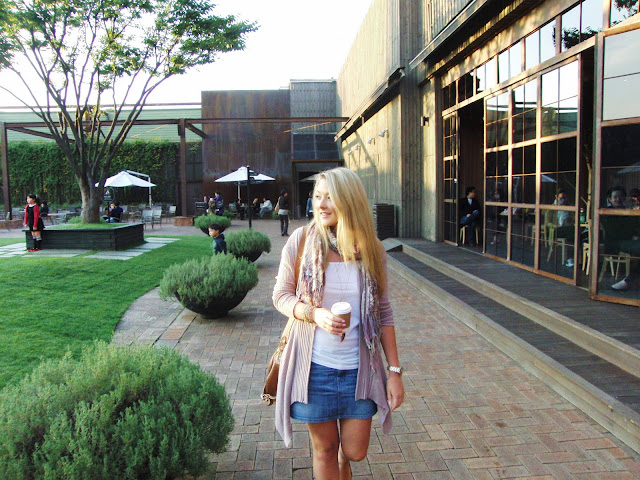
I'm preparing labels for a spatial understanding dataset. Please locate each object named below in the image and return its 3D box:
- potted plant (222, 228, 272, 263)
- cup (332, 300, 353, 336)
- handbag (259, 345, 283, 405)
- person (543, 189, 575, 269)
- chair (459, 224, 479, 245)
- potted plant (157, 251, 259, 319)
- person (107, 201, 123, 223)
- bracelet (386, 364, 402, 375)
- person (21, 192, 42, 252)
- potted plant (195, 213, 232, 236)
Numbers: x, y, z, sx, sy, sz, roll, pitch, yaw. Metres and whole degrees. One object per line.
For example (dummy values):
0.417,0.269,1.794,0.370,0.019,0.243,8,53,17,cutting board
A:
-1.960,0.125,11.676,0.815,0.742,0.922,0,-2,14,potted plant
0.127,0.421,2.501,0.131,0.181,0.154,-4,7,-6,cup
-0.296,0.861,2.841,0.092,0.249,0.292,5,24,-7,handbag
4.155,-0.286,7.618,0.351,1.209,0.422,-9,21,0,person
4.012,-0.116,12.036,0.389,0.618,0.563,2,-1,-14,chair
-1.823,0.809,7.725,1.419,1.206,1.573,-7,7,-13,potted plant
-8.953,-1.167,19.372,0.535,0.868,1.733,-3,8,-26,person
0.464,0.799,2.758,0.070,0.064,0.083,2,-13,29,bracelet
-8.543,-0.499,13.293,0.399,1.602,1.633,-4,8,-33,person
-4.218,-0.591,17.437,1.046,1.051,1.043,1,0,-41,potted plant
